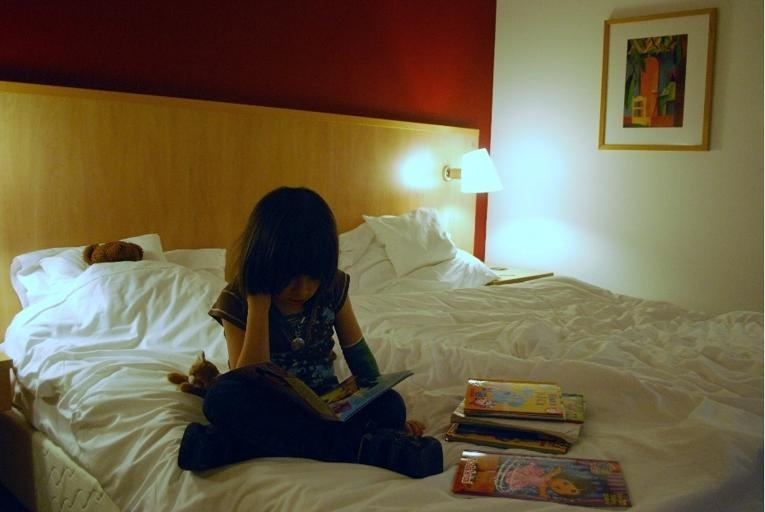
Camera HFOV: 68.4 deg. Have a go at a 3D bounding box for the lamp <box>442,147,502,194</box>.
[{"bbox_3d":[0.686,-0.647,4.296,0.426,0.287,0.294,0,5,39],"label":"lamp"}]

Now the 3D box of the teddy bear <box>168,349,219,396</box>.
[{"bbox_3d":[-0.600,0.392,1.871,0.116,0.121,0.091,5,-19,-8],"label":"teddy bear"}]

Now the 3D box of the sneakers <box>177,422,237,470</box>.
[{"bbox_3d":[-0.512,0.562,1.655,0.141,0.120,0.075,3,10,11],"label":"sneakers"}]

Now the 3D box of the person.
[{"bbox_3d":[-0.278,0.209,1.705,0.811,0.830,0.693,-1,-4,45],"label":"person"}]

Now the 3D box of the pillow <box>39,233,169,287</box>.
[{"bbox_3d":[-1.296,0.025,2.652,0.530,0.198,0.350,-6,12,-33],"label":"pillow"}]

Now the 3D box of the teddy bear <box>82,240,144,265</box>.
[{"bbox_3d":[-1.270,-0.020,2.646,0.177,0.066,0.138,7,10,37],"label":"teddy bear"}]
